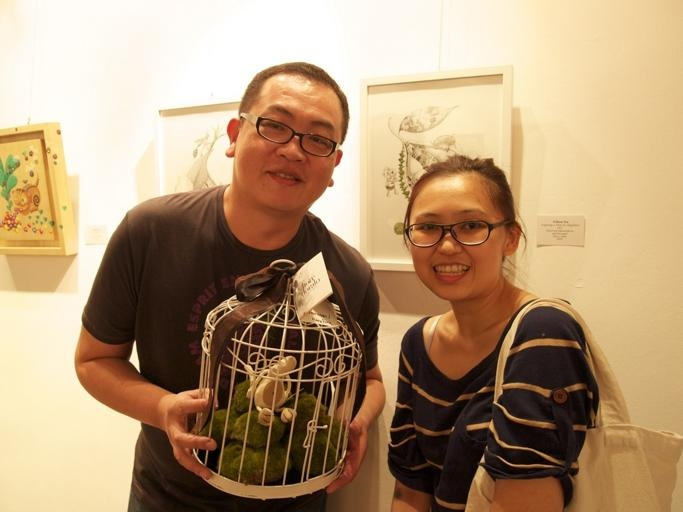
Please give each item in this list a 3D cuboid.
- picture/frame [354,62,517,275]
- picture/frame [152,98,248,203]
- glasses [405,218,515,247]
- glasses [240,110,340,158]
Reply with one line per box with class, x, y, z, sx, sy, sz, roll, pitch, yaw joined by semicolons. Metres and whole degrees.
picture/frame;0.298;-0.332;1.883;0.506;0.673;0.028;-1;-23;24
picture/frame;-0.552;-0.422;2.147;0.365;0.376;0.041;-5;-13;8
glasses;0.344;-0.065;1.552;0.318;0.081;0.124;0;4;15
glasses;-0.152;-0.355;1.563;0.276;0.132;0.081;-1;4;-8
